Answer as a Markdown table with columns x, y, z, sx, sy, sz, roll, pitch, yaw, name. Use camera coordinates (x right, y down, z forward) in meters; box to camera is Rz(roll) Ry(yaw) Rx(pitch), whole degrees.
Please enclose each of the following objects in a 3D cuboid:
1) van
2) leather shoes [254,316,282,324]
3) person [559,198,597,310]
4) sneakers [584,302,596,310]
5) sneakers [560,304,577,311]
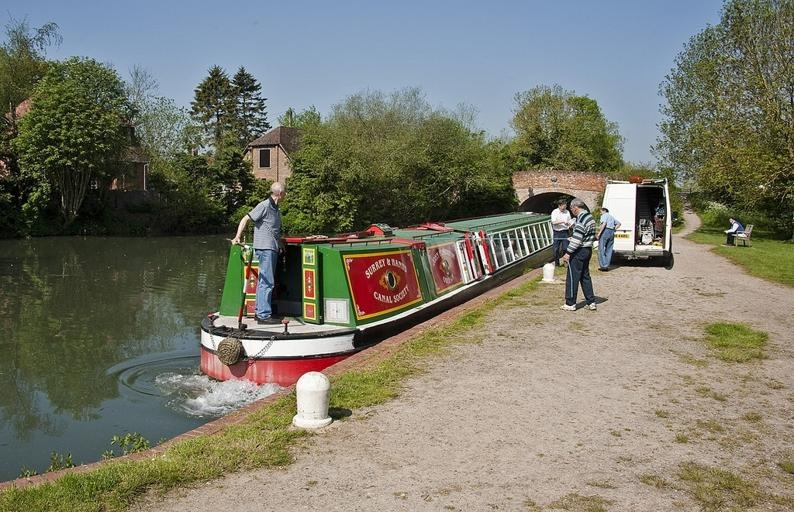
| x | y | z | sx | sy | sz | roll | pitch | yaw | name |
| --- | --- | --- | --- | --- | --- | --- | --- | --- | --- |
| 8.782 | -1.383 | 24.085 | 2.527 | 2.478 | 4.421 | 0 | 6 | 19 | van |
| -2.732 | 1.357 | 13.981 | 0.579 | 0.222 | 0.202 | -2 | 4 | 5 | leather shoes |
| 4.343 | 0.019 | 15.580 | 0.775 | 2.606 | 1.296 | -1 | 14 | 17 | person |
| 4.611 | 1.186 | 15.574 | 0.165 | 0.177 | 0.432 | -5 | -4 | 24 | sneakers |
| 4.051 | 1.200 | 15.500 | 0.323 | 0.156 | 0.134 | 3 | 9 | 19 | sneakers |
